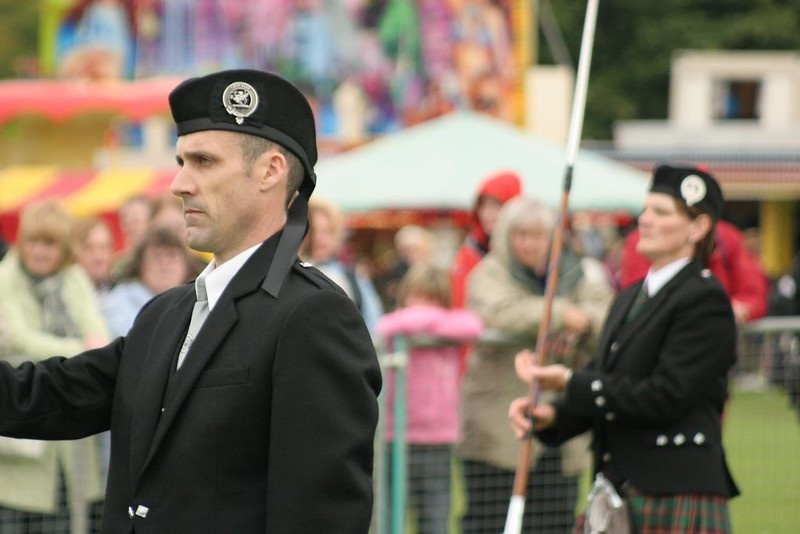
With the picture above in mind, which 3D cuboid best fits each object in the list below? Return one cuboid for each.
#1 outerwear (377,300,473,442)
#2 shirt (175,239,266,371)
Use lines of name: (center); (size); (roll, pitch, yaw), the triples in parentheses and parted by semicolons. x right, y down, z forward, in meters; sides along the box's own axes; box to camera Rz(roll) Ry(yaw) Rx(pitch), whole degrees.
outerwear: (0.728, 1.424, 28.671); (1.641, 1.792, 1.555); (0, -7, -5)
shirt: (-2.083, 0.486, 25.953); (0.679, 1.630, 1.120); (22, 4, -25)
